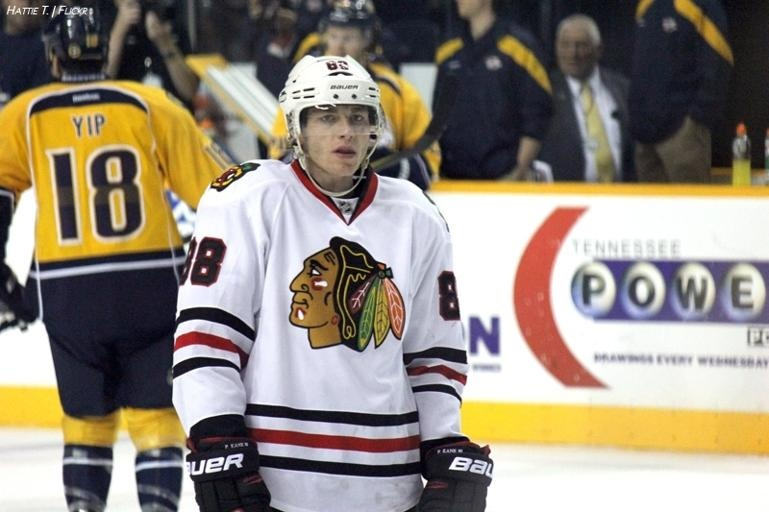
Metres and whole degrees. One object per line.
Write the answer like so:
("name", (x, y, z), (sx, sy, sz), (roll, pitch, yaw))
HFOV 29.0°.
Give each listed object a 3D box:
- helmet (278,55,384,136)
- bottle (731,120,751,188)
("helmet", (-0.229, -0.676, 6.269), (0.345, 0.331, 0.382), (-1, -3, -15))
("bottle", (1.943, -0.562, 8.130), (0.108, 0.331, 0.052), (1, 7, 11))
